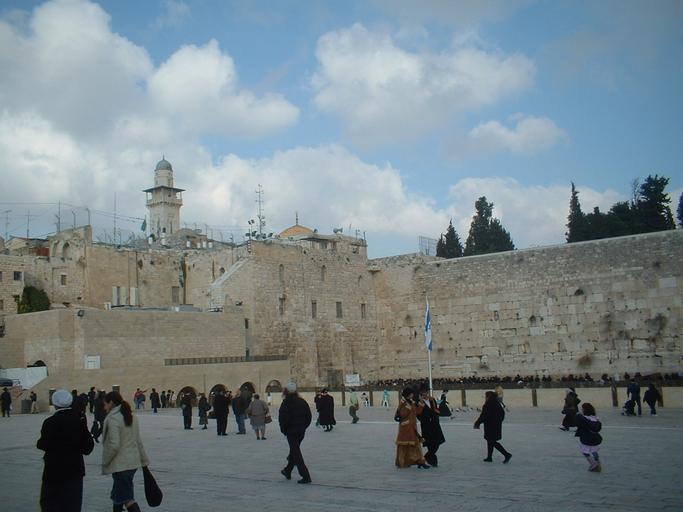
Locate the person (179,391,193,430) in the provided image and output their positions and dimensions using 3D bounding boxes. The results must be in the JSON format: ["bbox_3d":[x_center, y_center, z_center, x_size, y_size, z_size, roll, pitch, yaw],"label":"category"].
[{"bbox_3d":[-5.132,5.179,30.540,0.311,1.134,1.453,-1,-7,-8],"label":"person"}]

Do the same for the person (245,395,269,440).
[{"bbox_3d":[-2.495,4.862,27.783,0.661,1.310,1.463,-1,-7,-6],"label":"person"}]

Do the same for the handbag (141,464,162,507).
[{"bbox_3d":[-4.030,4.926,19.531,0.391,0.919,0.839,0,-8,-12],"label":"handbag"}]

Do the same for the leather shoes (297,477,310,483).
[{"bbox_3d":[-0.875,5.266,21.466,0.335,0.125,0.165,-4,-8,14],"label":"leather shoes"}]

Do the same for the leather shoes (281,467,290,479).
[{"bbox_3d":[-1.275,5.153,21.847,0.122,0.245,0.360,-8,21,-30],"label":"leather shoes"}]

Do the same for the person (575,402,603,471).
[{"bbox_3d":[6.068,4.418,22.470,0.588,1.588,1.222,-4,-8,14],"label":"person"}]

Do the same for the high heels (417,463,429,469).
[{"bbox_3d":[2.031,5.161,22.547,0.301,0.147,0.101,-11,-8,14],"label":"high heels"}]

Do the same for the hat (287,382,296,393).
[{"bbox_3d":[-1.199,3.225,22.347,0.212,0.206,0.206,0,21,-8],"label":"hat"}]

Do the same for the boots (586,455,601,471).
[{"bbox_3d":[6.056,4.985,22.054,0.182,0.333,0.474,-6,-1,-6],"label":"boots"}]

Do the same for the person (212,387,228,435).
[{"bbox_3d":[-3.756,4.931,28.813,0.478,1.352,1.356,-1,-7,-7],"label":"person"}]

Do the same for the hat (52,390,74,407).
[{"bbox_3d":[-5.808,2.973,18.965,0.382,0.349,0.360,13,-2,42],"label":"hat"}]

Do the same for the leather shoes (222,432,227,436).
[{"bbox_3d":[-3.592,5.495,28.306,0.146,0.098,0.312,-1,-7,-9],"label":"leather shoes"}]

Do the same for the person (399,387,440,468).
[{"bbox_3d":[1.854,4.264,22.795,0.866,1.943,1.250,-6,-8,29],"label":"person"}]

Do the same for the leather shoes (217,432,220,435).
[{"bbox_3d":[-3.774,5.484,28.335,0.113,0.081,0.109,-3,-3,0],"label":"leather shoes"}]

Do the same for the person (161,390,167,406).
[{"bbox_3d":[-7.624,6.171,39.576,0.226,0.676,0.783,0,-7,-11],"label":"person"}]

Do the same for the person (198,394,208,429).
[{"bbox_3d":[-4.587,5.185,30.717,0.324,1.128,1.117,-1,-7,-8],"label":"person"}]

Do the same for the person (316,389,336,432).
[{"bbox_3d":[-0.520,4.955,29.417,0.573,1.312,0.776,-1,-7,-3],"label":"person"}]

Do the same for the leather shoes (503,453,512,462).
[{"bbox_3d":[4.146,5.034,22.862,0.231,0.236,0.103,13,10,-20],"label":"leather shoes"}]

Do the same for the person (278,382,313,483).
[{"bbox_3d":[-1.100,4.257,22.166,0.734,2.320,1.362,-2,-7,-3],"label":"person"}]
